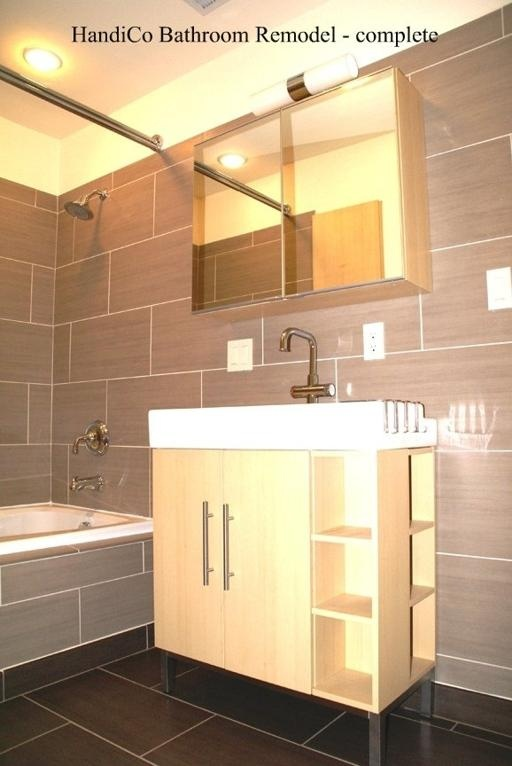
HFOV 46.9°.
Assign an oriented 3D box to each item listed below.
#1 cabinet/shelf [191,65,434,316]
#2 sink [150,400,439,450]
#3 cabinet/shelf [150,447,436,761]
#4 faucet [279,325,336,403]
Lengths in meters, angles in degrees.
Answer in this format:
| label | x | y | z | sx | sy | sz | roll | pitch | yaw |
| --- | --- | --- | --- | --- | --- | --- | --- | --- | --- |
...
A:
| label | x | y | z | sx | sy | sz | roll | pitch | yaw |
| --- | --- | --- | --- | --- | --- | --- | --- | --- | --- |
| cabinet/shelf | 0.140 | -0.536 | 1.897 | 0.777 | 0.610 | 0.217 | -3 | 4 | 38 |
| sink | 0.018 | 0.115 | 1.521 | 0.730 | 0.119 | 0.197 | -5 | -9 | 36 |
| cabinet/shelf | 0.115 | 0.529 | 1.426 | 0.587 | 0.553 | 0.250 | -8 | -14 | 37 |
| faucet | 0.135 | -0.025 | 1.696 | 0.137 | 0.264 | 0.131 | 5 | -11 | -28 |
